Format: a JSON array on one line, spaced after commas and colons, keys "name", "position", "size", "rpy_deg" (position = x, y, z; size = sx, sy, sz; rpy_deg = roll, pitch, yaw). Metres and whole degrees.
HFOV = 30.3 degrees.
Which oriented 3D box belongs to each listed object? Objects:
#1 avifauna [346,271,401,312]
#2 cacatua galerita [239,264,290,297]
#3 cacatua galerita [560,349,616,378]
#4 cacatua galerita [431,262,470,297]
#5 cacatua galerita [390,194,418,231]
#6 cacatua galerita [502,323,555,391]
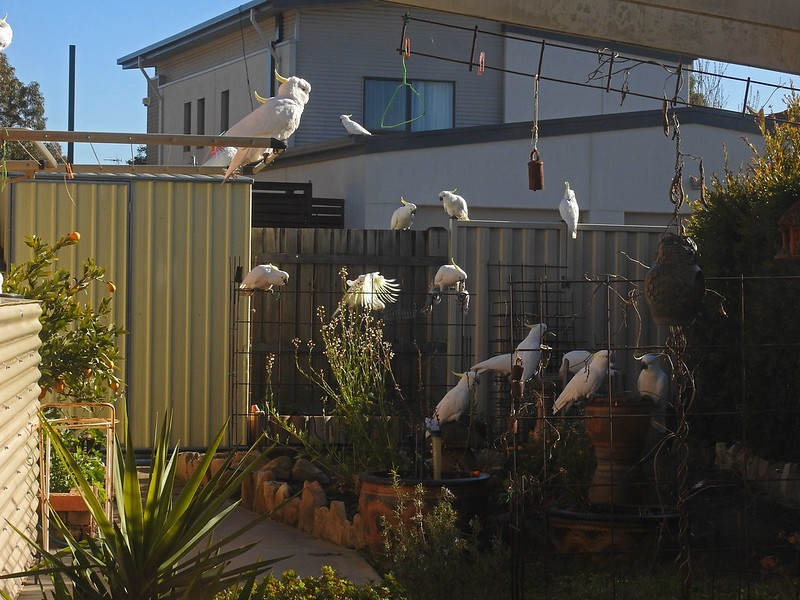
[{"name": "avifauna", "position": [-0.298, -0.147, 14.255], "size": [0.511, 0.273, 0.342], "rpy_deg": [8, -42, 16]}, {"name": "cacatua galerita", "position": [-1.308, -0.216, 14.622], "size": [0.494, 0.303, 0.241], "rpy_deg": [-1, 0, 20]}, {"name": "cacatua galerita", "position": [1.739, 0.569, 13.737], "size": [0.516, 0.362, 0.259], "rpy_deg": [-3, -3, 2]}, {"name": "cacatua galerita", "position": [0.479, -0.203, 14.414], "size": [0.211, 0.286, 0.359], "rpy_deg": [0, 7, -33]}, {"name": "cacatua galerita", "position": [0.063, -0.970, 17.225], "size": [0.216, 0.453, 0.518], "rpy_deg": [1, -3, -31]}, {"name": "cacatua galerita", "position": [1.168, 0.471, 13.655], "size": [0.326, 0.689, 0.285], "rpy_deg": [0, 33, -7]}]
